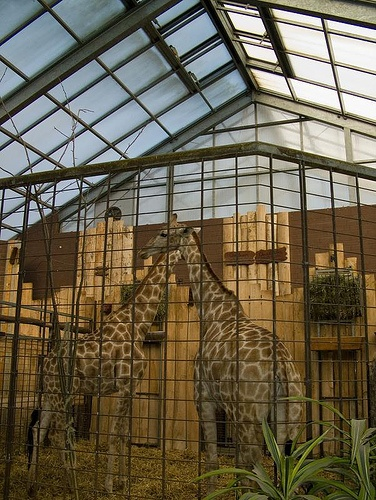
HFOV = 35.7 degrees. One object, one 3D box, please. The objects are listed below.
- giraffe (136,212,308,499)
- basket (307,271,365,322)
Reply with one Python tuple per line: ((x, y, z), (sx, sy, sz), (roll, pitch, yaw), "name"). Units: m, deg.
((0.255, 0.580, 4.207), (1.072, 2.190, 1.911), (3, -15, -8), "giraffe")
((1.480, 0.469, 5.790), (0.512, 0.594, 0.641), (2, -6, -7), "basket")
